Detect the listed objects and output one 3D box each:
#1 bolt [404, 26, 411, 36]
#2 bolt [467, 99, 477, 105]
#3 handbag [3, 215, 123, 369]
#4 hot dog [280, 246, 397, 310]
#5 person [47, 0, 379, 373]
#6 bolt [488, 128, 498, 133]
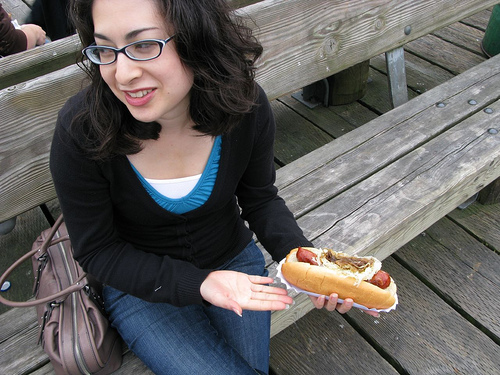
[{"bbox_3d":[1.034,-1.054,2.594,0.044,0.048,0.012,-13,24,-32],"label":"bolt"},{"bbox_3d":[1.318,-0.519,2.344,0.044,0.011,0.052,9,56,19],"label":"bolt"},{"bbox_3d":[-0.680,0.398,1.451,0.261,0.329,0.482,-20,62,-15],"label":"handbag"},{"bbox_3d":[0.292,0.275,1.355,0.363,0.148,0.181,13,30,16],"label":"hot dog"},{"bbox_3d":[-0.360,-0.301,1.736,0.985,0.898,1.609,-14,40,-26],"label":"person"},{"bbox_3d":[1.337,-0.324,2.181,0.049,0.010,0.031,-4,53,10],"label":"bolt"}]
